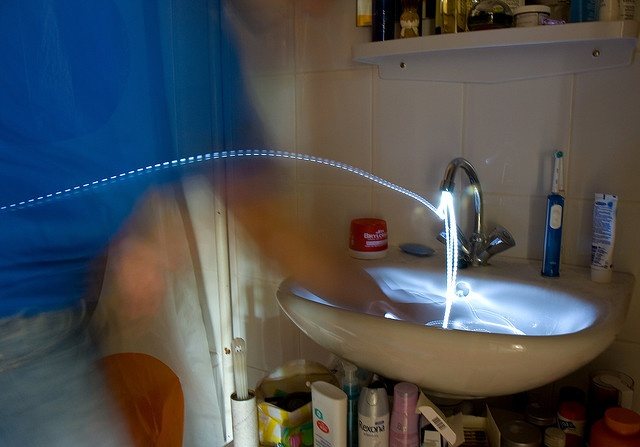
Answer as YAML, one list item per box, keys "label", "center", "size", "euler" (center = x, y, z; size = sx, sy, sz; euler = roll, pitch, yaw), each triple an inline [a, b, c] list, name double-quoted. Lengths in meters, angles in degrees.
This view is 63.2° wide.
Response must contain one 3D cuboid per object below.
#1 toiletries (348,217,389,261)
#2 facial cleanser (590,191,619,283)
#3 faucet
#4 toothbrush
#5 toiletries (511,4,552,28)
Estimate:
- label: "toiletries"
  center: [0.142, 0.038, 1.491]
  size: [0.106, 0.108, 0.115]
  euler: [9, 19, 30]
- label: "facial cleanser"
  center: [0.665, 0.030, 1.229]
  size: [0.062, 0.205, 0.087]
  euler: [5, 9, 34]
- label: "faucet"
  center: [0.409, -0.018, 1.349]
  size: [0.189, 0.290, 0.137]
  euler: [2, 3, 2]
- label: "toothbrush"
  center: [0.573, -0.022, 1.272]
  size: [0.041, 0.301, 0.087]
  euler: [3, 13, 25]
- label: "toiletries"
  center: [0.522, -0.494, 1.245]
  size: [0.102, 0.054, 0.061]
  euler: [-7, 12, -17]
